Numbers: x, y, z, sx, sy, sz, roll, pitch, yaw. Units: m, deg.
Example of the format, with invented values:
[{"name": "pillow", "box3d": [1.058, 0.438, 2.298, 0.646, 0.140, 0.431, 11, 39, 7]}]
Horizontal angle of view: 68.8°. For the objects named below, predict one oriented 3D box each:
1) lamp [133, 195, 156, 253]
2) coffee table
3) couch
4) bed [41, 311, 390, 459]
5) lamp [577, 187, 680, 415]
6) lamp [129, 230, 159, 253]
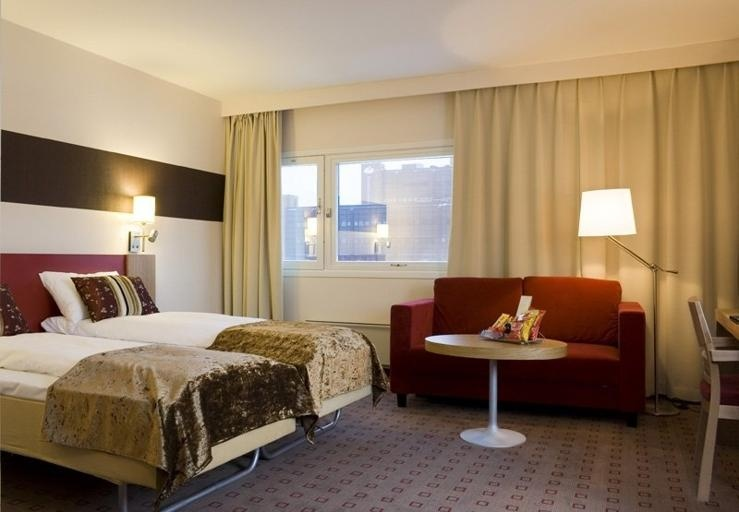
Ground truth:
[{"name": "lamp", "box3d": [-2.268, -0.316, 5.460, 0.211, 0.566, 0.344, -2, 5, -21]}, {"name": "coffee table", "box3d": [0.915, 0.939, 3.885, 0.851, 0.595, 0.835, 3, -4, -28]}, {"name": "couch", "box3d": [1.319, 0.784, 4.880, 2.090, 1.128, 0.880, -2, 0, 28]}, {"name": "bed", "box3d": [-1.069, 0.833, 4.061, 1.814, 0.463, 1.053, 0, -2, 15]}, {"name": "lamp", "box3d": [2.293, 0.379, 4.756, 0.968, 1.875, 0.457, 1, 0, 2]}, {"name": "lamp", "box3d": [-2.297, -0.138, 5.487, 0.240, 0.292, 0.208, -1, -8, 4]}]
